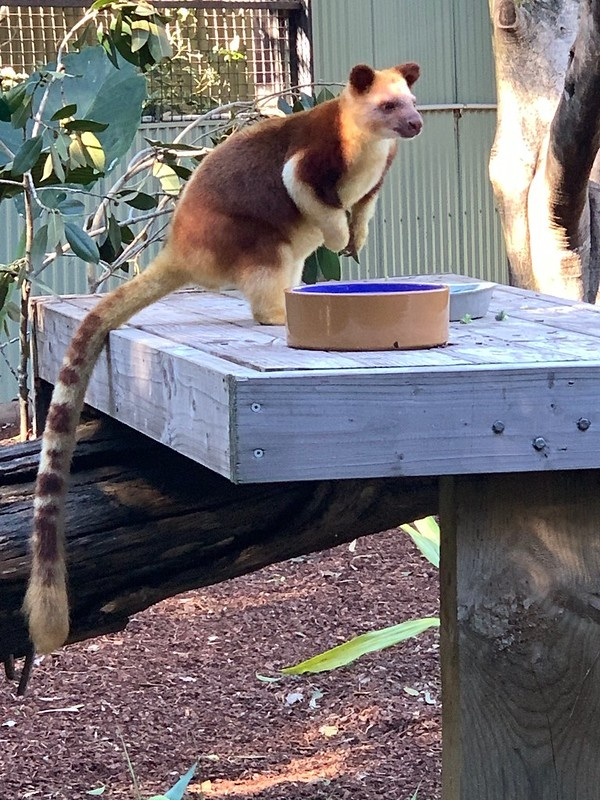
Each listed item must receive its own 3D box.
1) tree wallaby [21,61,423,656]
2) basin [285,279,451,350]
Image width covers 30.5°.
[{"bbox_3d":[-0.186,-0.148,2.405,1.153,1.158,0.485,-12,18,-36],"label":"tree wallaby"},{"bbox_3d":[0.123,-0.144,2.016,0.295,0.114,0.125,-2,13,-1],"label":"basin"}]
